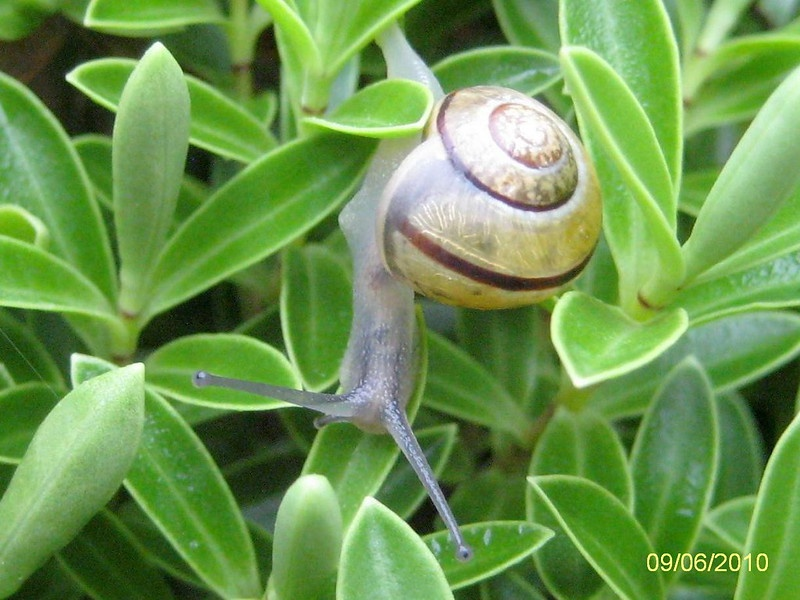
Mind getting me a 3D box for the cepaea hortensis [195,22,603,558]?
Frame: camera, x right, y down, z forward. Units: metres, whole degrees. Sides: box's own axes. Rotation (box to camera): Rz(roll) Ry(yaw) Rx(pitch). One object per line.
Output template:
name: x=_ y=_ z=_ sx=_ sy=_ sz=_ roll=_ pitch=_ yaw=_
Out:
cepaea hortensis: x=0.038 y=-0.108 z=1.028 sx=0.364 sy=0.638 sz=0.192 roll=19 pitch=-26 yaw=12
